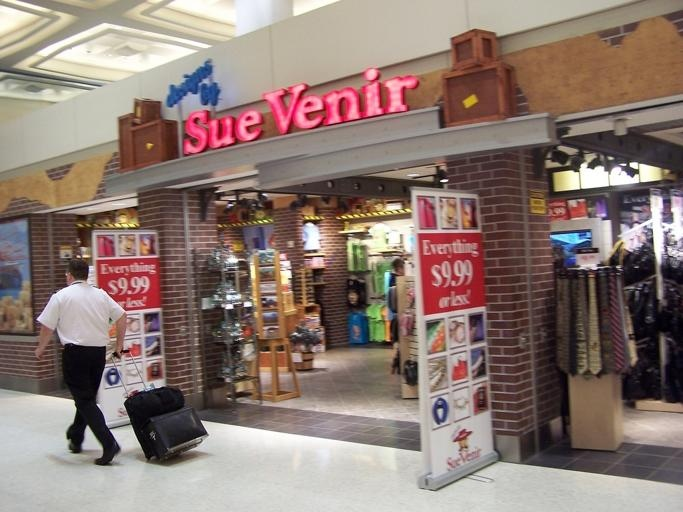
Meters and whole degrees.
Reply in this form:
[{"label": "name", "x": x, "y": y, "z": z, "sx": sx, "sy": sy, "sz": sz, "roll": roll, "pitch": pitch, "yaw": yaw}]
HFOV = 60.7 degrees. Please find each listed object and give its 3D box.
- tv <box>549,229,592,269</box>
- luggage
[{"label": "tv", "x": 2.787, "y": -0.082, "z": 7.098, "sx": 0.716, "sy": 0.463, "sz": 0.054, "roll": -5, "pitch": 4, "yaw": -29}, {"label": "luggage", "x": -1.975, "y": 1.857, "z": 6.577, "sx": 0.394, "sy": 1.118, "sz": 0.626, "roll": -7, "pitch": 1, "yaw": 42}]
